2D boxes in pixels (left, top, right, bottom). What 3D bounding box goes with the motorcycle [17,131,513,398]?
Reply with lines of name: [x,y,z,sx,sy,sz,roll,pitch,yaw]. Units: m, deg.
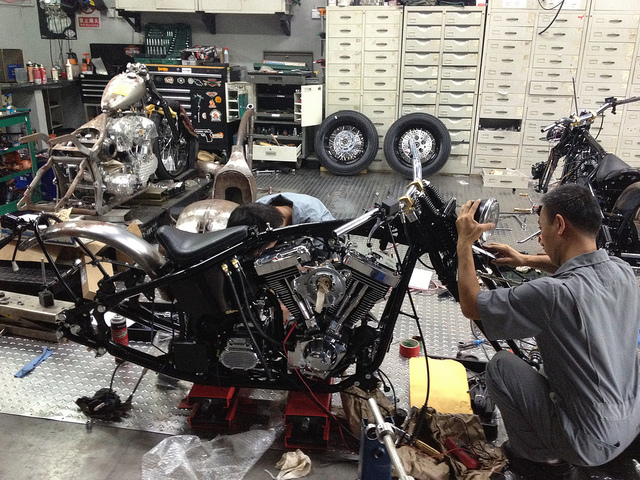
motorcycle: [-0.196,0.191,2.352,2.778,1.140,0.831,6,25,3]

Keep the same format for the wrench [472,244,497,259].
wrench: [0.882,0.060,2.417,0.172,0.019,0.014,27,41,-32]

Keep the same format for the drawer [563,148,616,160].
drawer: [2.713,-0.883,4.560,0.279,0.066,0.259,-19,24,-40]

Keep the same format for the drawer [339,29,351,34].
drawer: [0.363,-3.015,6.418,0.181,0.063,0.052,-1,0,2]

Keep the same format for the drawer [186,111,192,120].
drawer: [-1.935,-1.877,6.654,0.035,0.135,0.141,-4,8,-33]

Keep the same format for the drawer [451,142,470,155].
drawer: [2.087,-1.351,6.661,0.197,0.194,0.124,3,-2,16]

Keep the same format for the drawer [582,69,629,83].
drawer: [3.917,-2.268,6.156,0.356,0.122,0.255,3,11,19]

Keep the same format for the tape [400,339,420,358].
tape: [0.579,0.690,2.917,0.105,0.065,0.108,8,9,43]

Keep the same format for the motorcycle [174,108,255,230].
motorcycle: [-1.157,-0.814,4.784,0.305,1.759,0.646,13,-9,4]

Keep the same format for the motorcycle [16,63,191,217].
motorcycle: [-2.056,-1.093,4.519,0.878,1.196,2.365,10,27,6]

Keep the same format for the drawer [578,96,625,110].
drawer: [3.671,-1.804,5.831,0.621,0.208,0.185,2,23,11]

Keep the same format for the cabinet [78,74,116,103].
cabinet: [-3.784,-2.545,7.480,0.339,0.452,0.621,12,27,27]

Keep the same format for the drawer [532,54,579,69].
drawer: [3.255,-2.482,6.250,0.311,0.105,0.315,3,16,14]

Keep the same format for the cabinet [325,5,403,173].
cabinet: [0.682,-2.486,6.879,0.895,1.885,0.645,4,19,6]

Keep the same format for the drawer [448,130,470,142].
drawer: [2.065,-1.545,6.591,0.241,0.173,0.107,2,15,17]

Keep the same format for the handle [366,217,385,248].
handle: [0.258,-0.031,2.151,0.037,0.138,0.077,28,11,-18]

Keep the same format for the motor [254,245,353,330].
motor: [-0.086,0.212,2.173,0.423,0.429,0.208,1,7,13]
